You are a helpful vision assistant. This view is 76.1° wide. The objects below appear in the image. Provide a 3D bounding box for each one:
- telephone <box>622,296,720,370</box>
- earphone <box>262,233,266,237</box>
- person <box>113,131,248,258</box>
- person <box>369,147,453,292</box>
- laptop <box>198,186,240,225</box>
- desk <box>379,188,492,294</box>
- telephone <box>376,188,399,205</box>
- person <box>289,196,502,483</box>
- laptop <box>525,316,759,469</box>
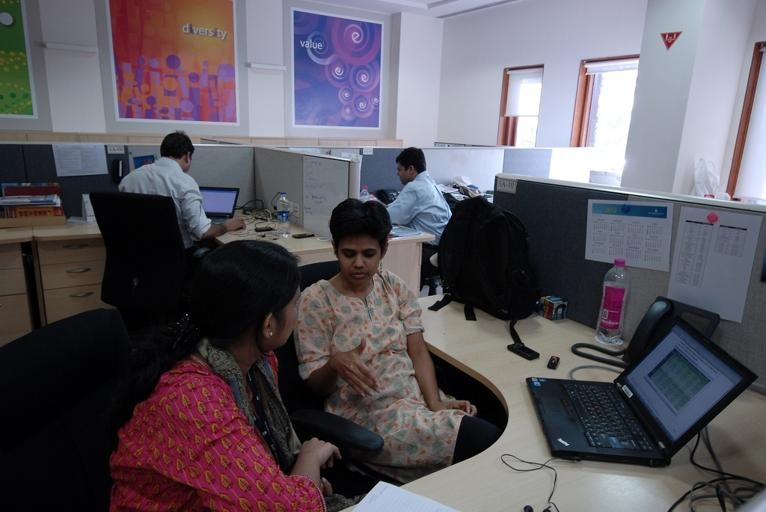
[{"bbox_3d":[1.060,0.279,1.778,0.125,0.241,0.236,29,11,12],"label":"telephone"},{"bbox_3d":[-0.833,-0.148,3.441,0.021,0.028,0.029,0,8,6],"label":"earphone"},{"bbox_3d":[-1.351,-0.407,3.297,0.718,0.983,0.560,15,25,19],"label":"person"},{"bbox_3d":[0.281,-0.252,4.480,0.740,1.387,0.583,-1,7,11],"label":"person"},{"bbox_3d":[-1.305,-0.411,3.918,0.305,0.276,0.188,2,11,-2],"label":"laptop"},{"bbox_3d":[0.582,-0.111,4.857,1.182,0.287,0.779,-13,22,-41],"label":"desk"},{"bbox_3d":[0.037,-0.594,4.779,0.244,0.109,0.244,-8,23,-30],"label":"telephone"},{"bbox_3d":[0.054,0.365,1.831,0.526,0.992,0.877,-9,14,-35],"label":"person"},{"bbox_3d":[0.812,0.419,1.663,0.583,0.357,0.562,2,14,-4],"label":"laptop"}]
